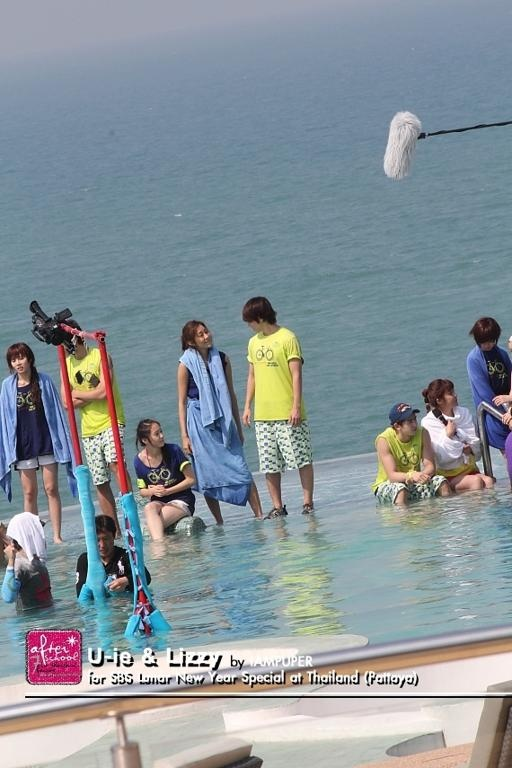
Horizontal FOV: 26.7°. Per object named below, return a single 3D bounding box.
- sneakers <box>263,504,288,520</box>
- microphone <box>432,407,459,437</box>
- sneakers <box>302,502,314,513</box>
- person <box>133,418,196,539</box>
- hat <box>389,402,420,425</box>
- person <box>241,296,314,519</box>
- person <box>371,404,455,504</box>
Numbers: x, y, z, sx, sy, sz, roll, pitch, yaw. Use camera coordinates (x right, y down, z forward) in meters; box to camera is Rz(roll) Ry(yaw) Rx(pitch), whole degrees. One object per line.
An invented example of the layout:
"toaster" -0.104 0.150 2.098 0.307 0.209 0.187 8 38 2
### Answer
"sneakers" 0.178 1.025 8.555 0.233 0.084 0.073 -6 -2 17
"microphone" 1.422 0.281 8.197 0.079 0.222 0.139 -46 -12 9
"sneakers" 0.417 0.979 8.573 0.083 0.084 0.209 0 -7 3
"person" -0.691 0.693 8.158 0.448 0.946 0.672 -14 1 -7
"hat" 1.075 0.215 7.891 0.188 0.155 0.242 -12 0 9
"person" 0.163 0.161 8.389 0.578 1.753 0.706 -14 1 0
"person" 1.082 0.523 8.088 0.557 0.769 0.593 -13 1 12
